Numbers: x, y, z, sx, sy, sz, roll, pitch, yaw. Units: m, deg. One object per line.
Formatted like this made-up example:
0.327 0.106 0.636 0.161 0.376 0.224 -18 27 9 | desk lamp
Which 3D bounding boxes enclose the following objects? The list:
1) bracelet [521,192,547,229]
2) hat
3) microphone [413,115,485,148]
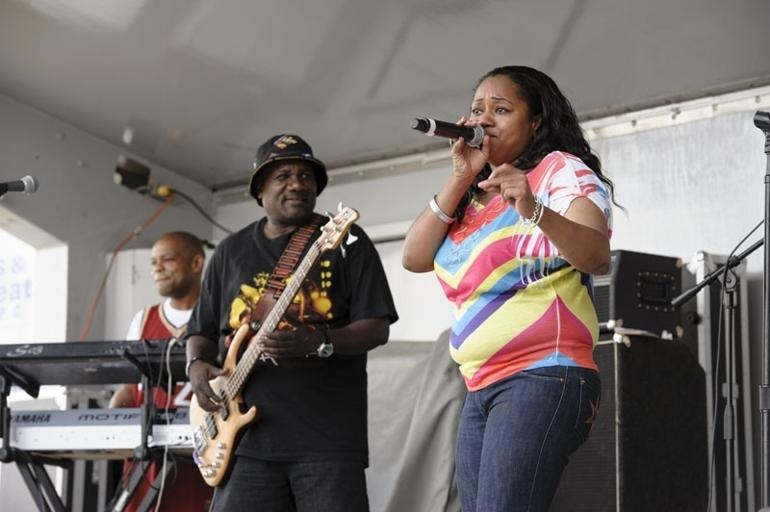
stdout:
0.554 -0.163 3.665 0.043 0.102 0.082 10 -2 -3 | bracelet
-0.489 -0.452 4.719 0.348 0.224 0.411 -12 -20 -6 | hat
0.275 -0.514 3.906 0.328 0.109 0.107 10 -12 -28 | microphone
